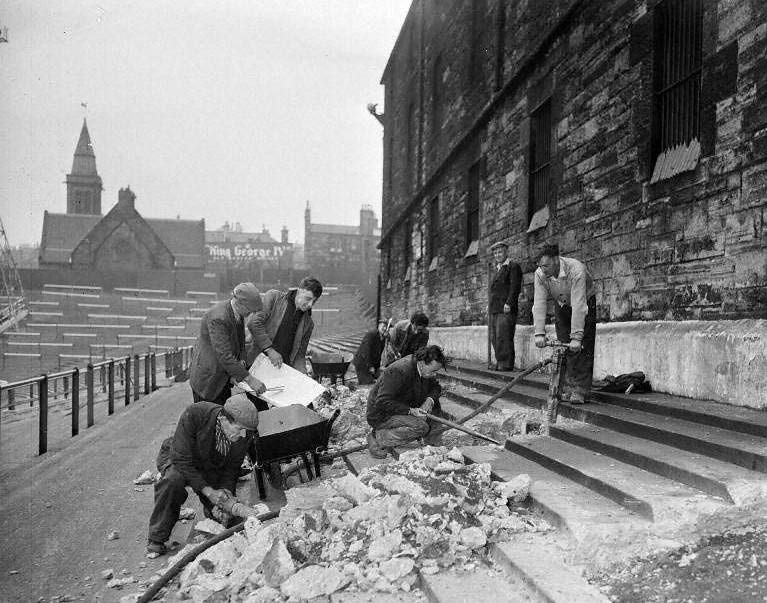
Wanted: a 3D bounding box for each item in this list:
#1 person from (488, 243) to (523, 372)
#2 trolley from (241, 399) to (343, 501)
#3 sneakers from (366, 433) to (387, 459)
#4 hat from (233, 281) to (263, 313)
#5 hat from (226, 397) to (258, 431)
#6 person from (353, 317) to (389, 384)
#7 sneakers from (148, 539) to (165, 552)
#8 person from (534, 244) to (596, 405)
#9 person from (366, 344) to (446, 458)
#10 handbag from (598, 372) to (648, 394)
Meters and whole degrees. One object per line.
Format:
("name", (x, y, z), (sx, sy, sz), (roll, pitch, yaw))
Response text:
("person", (1.908, 0.061, 10.079), (0.418, 2.031, 0.855), (-2, 1, -5))
("trolley", (-1.110, 1.677, 7.040), (1.004, 1.072, 0.845), (-4, 13, -19))
("sneakers", (-0.078, 1.640, 7.289), (0.168, 0.186, 0.383), (-2, -1, -33))
("hat", (-1.510, -0.038, 7.160), (0.310, 0.291, 0.364), (-2, 0, -15))
("hat", (-1.380, 1.103, 6.246), (0.319, 0.298, 0.264), (-2, 0, -8))
("person", (-0.285, 1.008, 13.446), (0.438, 0.547, 1.444), (8, -32, -3))
("sneakers", (-2.153, 2.341, 6.143), (0.166, 0.130, 0.146), (-2, 0, -29))
("person", (2.074, 0.252, 7.388), (0.692, 1.826, 1.078), (-2, 1, 18))
("person", (0.293, 1.144, 7.539), (0.851, 1.382, 0.887), (-1, 12, -28))
("handbag", (2.780, 0.950, 7.439), (0.325, 0.183, 0.313), (1, -4, 5))
